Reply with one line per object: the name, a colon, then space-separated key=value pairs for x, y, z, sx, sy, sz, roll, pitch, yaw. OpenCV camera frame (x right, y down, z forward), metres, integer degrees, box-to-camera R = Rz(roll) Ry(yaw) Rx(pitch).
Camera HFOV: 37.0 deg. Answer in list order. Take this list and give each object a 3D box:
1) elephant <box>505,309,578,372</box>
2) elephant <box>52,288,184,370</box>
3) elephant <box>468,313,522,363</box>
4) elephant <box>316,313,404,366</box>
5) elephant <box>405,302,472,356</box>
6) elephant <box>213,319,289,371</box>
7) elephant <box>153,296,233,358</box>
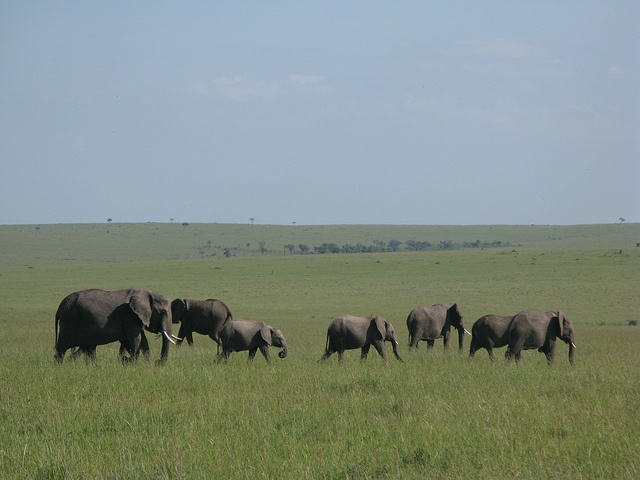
elephant: x=8.486 y=3.756 z=36.315 sx=2.623 sy=2.069 sz=1.249 roll=1 pitch=8 yaw=-2
elephant: x=-7.402 y=3.273 z=34.293 sx=4.412 sy=3.015 sz=1.947 roll=3 pitch=3 yaw=-21
elephant: x=7.230 y=3.886 z=37.007 sx=2.839 sy=1.934 sz=1.311 roll=4 pitch=5 yaw=-3
elephant: x=1.630 y=3.851 z=36.519 sx=3.164 sy=1.870 sz=1.278 roll=1 pitch=3 yaw=-7
elephant: x=4.729 y=3.616 z=39.541 sx=3.202 sy=1.988 sz=1.372 roll=1 pitch=1 yaw=-39
elephant: x=-2.543 y=4.008 z=35.874 sx=1.935 sy=1.776 sz=1.836 roll=-8 pitch=8 yaw=-34
elephant: x=-4.967 y=3.316 z=39.658 sx=3.711 sy=2.204 sz=1.315 roll=3 pitch=-1 yaw=29
